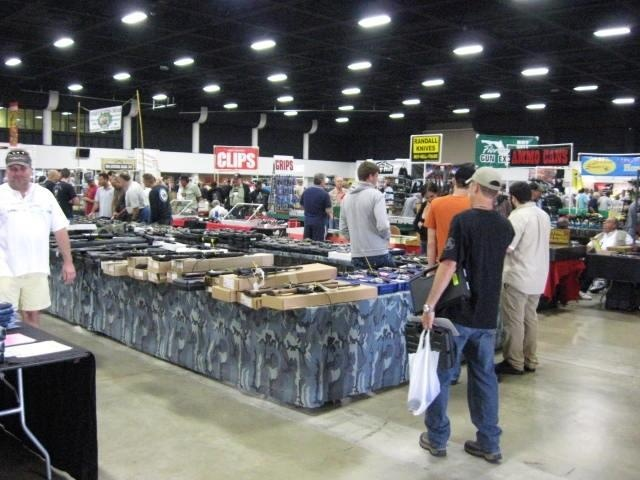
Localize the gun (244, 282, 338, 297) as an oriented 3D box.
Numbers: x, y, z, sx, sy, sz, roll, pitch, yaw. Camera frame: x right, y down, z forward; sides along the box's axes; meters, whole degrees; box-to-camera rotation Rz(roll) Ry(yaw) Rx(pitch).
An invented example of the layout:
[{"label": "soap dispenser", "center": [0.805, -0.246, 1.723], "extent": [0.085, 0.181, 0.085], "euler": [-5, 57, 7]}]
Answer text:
[{"label": "gun", "center": [-0.201, 0.400, 4.055], "extent": [0.727, 0.105, 0.348], "euler": [0, 8, -12]}]

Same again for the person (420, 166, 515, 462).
[{"label": "person", "center": [0.937, 0.476, 3.361], "extent": [0.601, 1.859, 0.417], "euler": [2, 8, 1]}]

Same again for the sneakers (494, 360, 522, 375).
[{"label": "sneakers", "center": [1.688, 1.172, 4.825], "extent": [0.279, 0.115, 0.102], "euler": [8, 4, 12]}]

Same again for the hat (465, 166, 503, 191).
[{"label": "hat", "center": [1.068, -0.395, 3.421], "extent": [0.136, 0.096, 0.183], "euler": [1, 16, -21]}]

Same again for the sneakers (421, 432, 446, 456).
[{"label": "sneakers", "center": [0.741, 1.355, 3.488], "extent": [0.074, 0.091, 0.200], "euler": [-2, -1, -16]}]

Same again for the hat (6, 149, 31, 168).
[{"label": "hat", "center": [-2.340, -0.633, 4.103], "extent": [0.155, 0.138, 0.264], "euler": [-2, 9, -27]}]

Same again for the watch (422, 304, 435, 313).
[{"label": "watch", "center": [0.665, 0.428, 3.251], "extent": [0.051, 0.053, 0.051], "euler": [14, -40, -27]}]

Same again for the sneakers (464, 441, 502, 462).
[{"label": "sneakers", "center": [1.033, 1.374, 3.404], "extent": [0.089, 0.107, 0.233], "euler": [-6, 17, -36]}]

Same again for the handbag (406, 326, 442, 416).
[{"label": "handbag", "center": [0.639, 0.812, 3.236], "extent": [0.183, 0.507, 0.153], "euler": [3, 8, 10]}]
